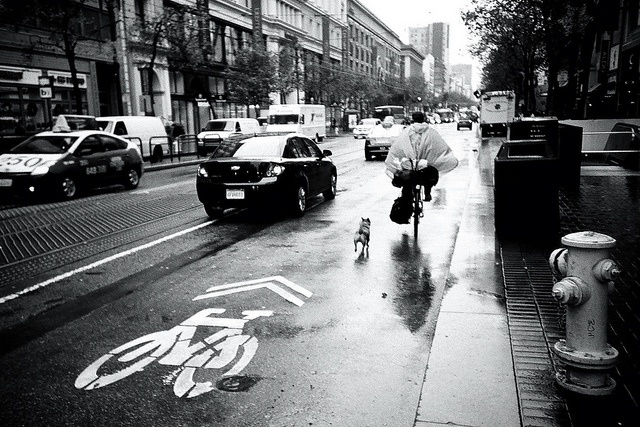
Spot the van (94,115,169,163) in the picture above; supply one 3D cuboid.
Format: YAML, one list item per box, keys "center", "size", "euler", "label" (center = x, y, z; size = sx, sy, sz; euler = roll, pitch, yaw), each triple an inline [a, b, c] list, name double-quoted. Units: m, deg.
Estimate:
- center: [-10.317, -4.203, 27.213]
  size: [2.313, 2.077, 4.143]
  euler: [2, 8, 29]
  label: "van"

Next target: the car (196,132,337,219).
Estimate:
- center: [-1.175, -1.007, 12.402]
  size: [1.933, 2.009, 3.632]
  euler: [8, 15, 38]
  label: "car"

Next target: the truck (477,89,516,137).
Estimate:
- center: [17.341, -9.717, 46.872]
  size: [2.970, 4.311, 2.628]
  euler: [4, 12, 22]
  label: "truck"

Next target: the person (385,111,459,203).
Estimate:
- center: [2.054, -1.121, 9.737]
  size: [1.364, 1.814, 0.466]
  euler: [-2, 11, -4]
  label: "person"

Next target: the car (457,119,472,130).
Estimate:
- center: [22.504, -13.762, 74.338]
  size: [2.181, 2.016, 2.278]
  euler: [1, 21, 7]
  label: "car"
